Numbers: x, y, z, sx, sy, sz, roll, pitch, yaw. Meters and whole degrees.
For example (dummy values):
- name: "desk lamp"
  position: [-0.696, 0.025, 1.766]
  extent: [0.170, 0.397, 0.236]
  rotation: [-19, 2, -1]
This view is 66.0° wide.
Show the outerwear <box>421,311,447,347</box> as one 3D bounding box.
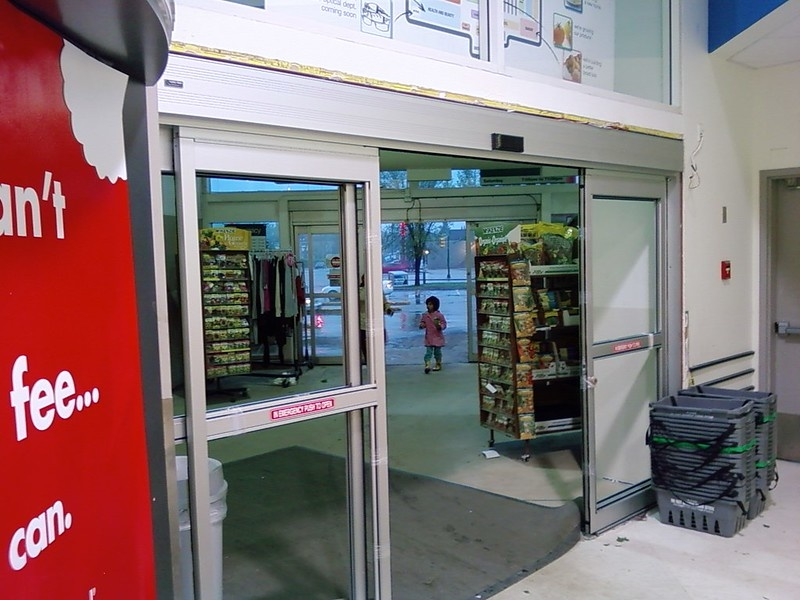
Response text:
- name: "outerwear"
  position: [0.554, 0.475, 10.005]
  extent: [0.658, 0.704, 0.545]
  rotation: [0, -1, 4]

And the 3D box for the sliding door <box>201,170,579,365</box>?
- name: "sliding door"
  position: [-0.214, -0.514, 7.931]
  extent: [4.194, 2.042, 0.165]
  rotation: [-1, 2, -7]

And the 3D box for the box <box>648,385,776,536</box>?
- name: "box"
  position: [2.329, 1.120, 4.537]
  extent: [0.824, 0.777, 1.026]
  rotation: [1, 3, 40]
